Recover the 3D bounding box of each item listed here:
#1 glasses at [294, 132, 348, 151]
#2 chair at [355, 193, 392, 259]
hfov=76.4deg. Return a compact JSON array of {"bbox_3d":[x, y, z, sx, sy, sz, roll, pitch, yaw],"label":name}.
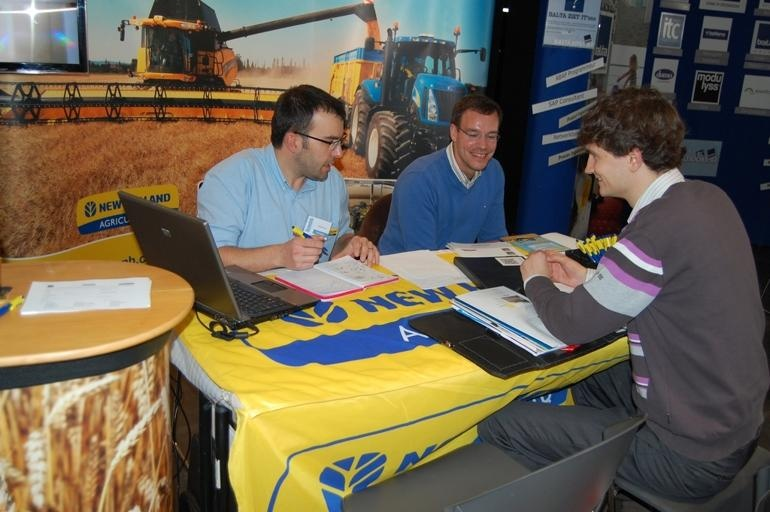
[{"bbox_3d":[-0.300,-0.553,2.356,0.261,0.077,0.090,-6,16,-34],"label":"glasses"},{"bbox_3d":[-0.060,-0.219,3.079,0.310,0.357,0.271,1,10,0],"label":"chair"}]
